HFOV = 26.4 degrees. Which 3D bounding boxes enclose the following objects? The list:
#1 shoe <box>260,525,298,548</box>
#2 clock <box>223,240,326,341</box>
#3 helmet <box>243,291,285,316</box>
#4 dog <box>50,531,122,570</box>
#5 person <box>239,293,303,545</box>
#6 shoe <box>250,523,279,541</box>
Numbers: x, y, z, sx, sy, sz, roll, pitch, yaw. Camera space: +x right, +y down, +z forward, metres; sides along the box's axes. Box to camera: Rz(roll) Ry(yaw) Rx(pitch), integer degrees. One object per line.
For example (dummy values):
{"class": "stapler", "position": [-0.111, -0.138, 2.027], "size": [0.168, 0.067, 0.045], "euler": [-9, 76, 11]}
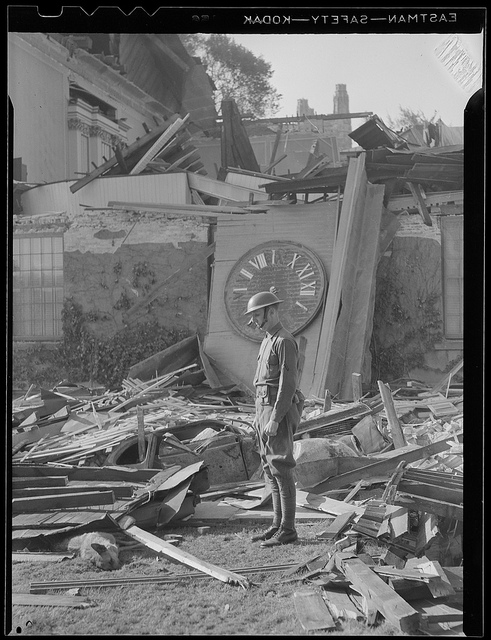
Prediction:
{"class": "shoe", "position": [0.225, 1.655, 8.005], "size": [0.348, 0.155, 0.120], "euler": [-3, -2, -5]}
{"class": "clock", "position": [0.427, -0.354, 13.060], "size": [1.307, 1.355, 0.096], "euler": [0, -4, 26]}
{"class": "helmet", "position": [0.145, -0.153, 8.385], "size": [0.242, 0.204, 0.587], "euler": [-1, 13, 2]}
{"class": "dog", "position": [-1.159, 1.681, 7.809], "size": [0.354, 0.139, 0.293], "euler": [28, 18, 25]}
{"class": "person", "position": [0.224, 0.763, 8.113], "size": [0.368, 1.909, 0.460], "euler": [0, 6, -17]}
{"class": "shoe", "position": [0.122, 1.644, 8.128], "size": [0.285, 0.126, 0.095], "euler": [0, -2, -5]}
